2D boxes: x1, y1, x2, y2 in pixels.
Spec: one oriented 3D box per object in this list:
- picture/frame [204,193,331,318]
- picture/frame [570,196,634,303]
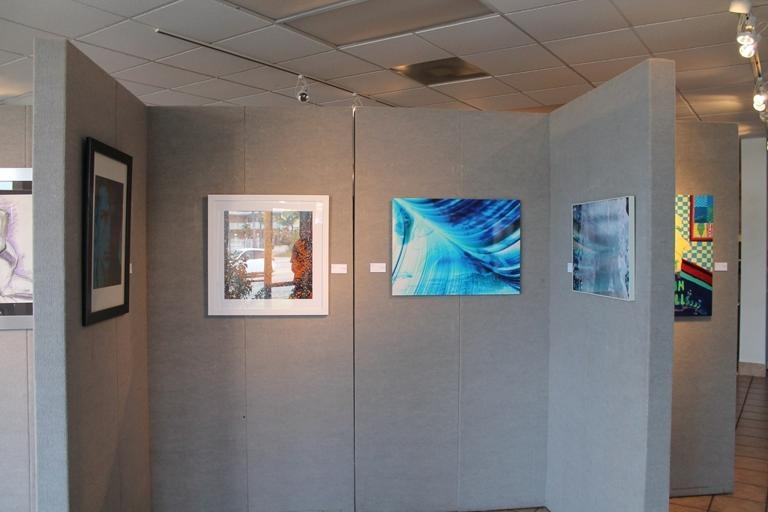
[{"bbox_3d":[-1.288,-0.003,7.086,1.409,1.323,0.047,0,1,1],"label":"picture/frame"},{"bbox_3d":[2.141,-0.071,6.522,0.104,1.295,1.101,2,-1,-21],"label":"picture/frame"}]
